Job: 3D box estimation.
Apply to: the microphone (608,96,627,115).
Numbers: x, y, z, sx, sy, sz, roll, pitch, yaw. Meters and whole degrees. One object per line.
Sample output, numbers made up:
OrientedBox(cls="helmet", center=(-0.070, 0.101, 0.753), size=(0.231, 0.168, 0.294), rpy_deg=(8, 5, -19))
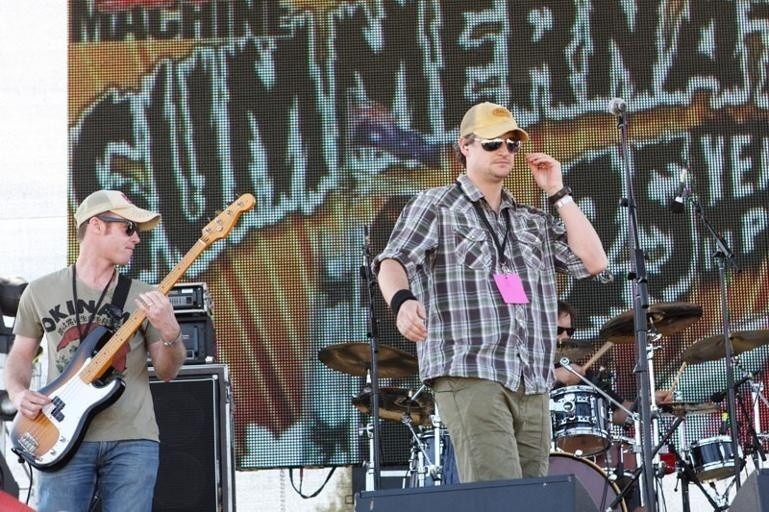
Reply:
OrientedBox(cls="microphone", center=(1.517, -0.974, 9.113), size=(0.133, 0.142, 0.076), rpy_deg=(0, 13, 0))

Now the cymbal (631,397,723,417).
OrientedBox(cls="cymbal", center=(2.323, 1.178, 10.798), size=(0.670, 0.102, 0.255), rpy_deg=(4, -15, -25))

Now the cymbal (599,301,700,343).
OrientedBox(cls="cymbal", center=(2.057, 0.494, 10.635), size=(0.836, 0.240, 0.628), rpy_deg=(-1, -13, -4))

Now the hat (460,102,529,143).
OrientedBox(cls="hat", center=(0.678, -0.846, 8.748), size=(0.350, 0.256, 0.474), rpy_deg=(-3, 0, -34))

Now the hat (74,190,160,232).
OrientedBox(cls="hat", center=(-1.709, -0.313, 9.059), size=(0.568, 0.290, 0.361), rpy_deg=(-9, -11, 9))

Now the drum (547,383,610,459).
OrientedBox(cls="drum", center=(1.447, 1.208, 10.479), size=(0.466, 0.435, 0.546), rpy_deg=(-1, 11, 3))
